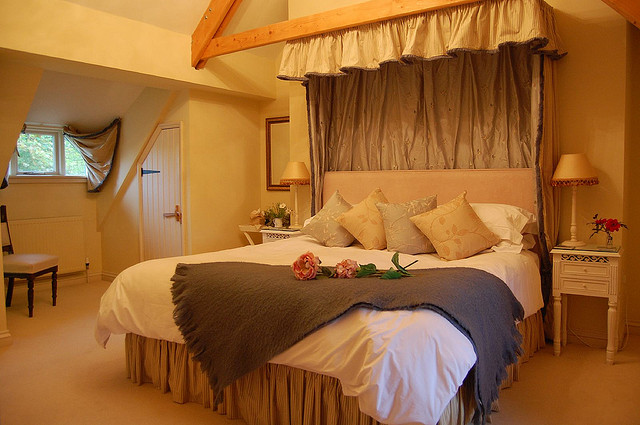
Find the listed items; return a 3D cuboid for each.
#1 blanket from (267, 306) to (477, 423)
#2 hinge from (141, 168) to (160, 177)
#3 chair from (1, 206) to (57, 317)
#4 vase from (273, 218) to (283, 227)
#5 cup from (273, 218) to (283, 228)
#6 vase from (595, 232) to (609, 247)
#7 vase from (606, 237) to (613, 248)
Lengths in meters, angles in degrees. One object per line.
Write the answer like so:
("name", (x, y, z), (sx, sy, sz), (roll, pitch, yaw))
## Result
("blanket", (0.447, 1.039, 3.306), (1.216, 0.660, 0.460), (3, 12, 18))
("hinge", (-2.591, -0.613, 7.076), (0.180, 0.090, 0.164), (0, 1, 16))
("chair", (-3.991, 0.604, 6.214), (0.806, 1.402, 0.617), (2, 12, 14))
("vase", (-0.574, 0.143, 6.460), (0.122, 0.130, 0.094), (-1, -5, 13))
("cup", (-0.577, 0.145, 6.514), (0.100, 0.144, 0.138), (-1, -1, -9))
("vase", (2.954, 0.279, 4.946), (0.110, 0.125, 0.096), (0, 12, 5))
("vase", (2.955, 0.303, 4.813), (0.049, 0.098, 0.110), (6, 13, 31))
